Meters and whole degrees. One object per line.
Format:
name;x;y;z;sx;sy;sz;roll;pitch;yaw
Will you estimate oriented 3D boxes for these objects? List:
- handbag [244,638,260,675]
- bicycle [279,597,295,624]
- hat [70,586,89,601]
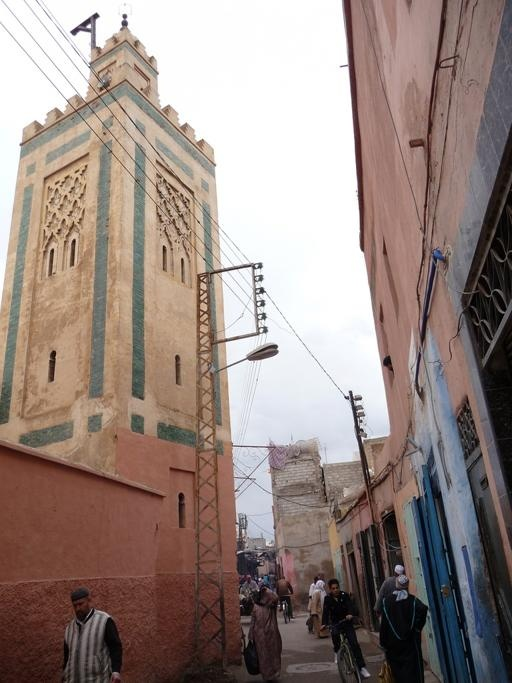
handbag;-0.076;5.337;8.057;0.248;0.487;0.298;-4;-29;-6
bicycle;1.408;12.008;21.228;0.665;0.925;1.525;-11;-42;-4
hat;-1.311;1.872;3.510;0.105;0.080;0.111;-22;-1;7
